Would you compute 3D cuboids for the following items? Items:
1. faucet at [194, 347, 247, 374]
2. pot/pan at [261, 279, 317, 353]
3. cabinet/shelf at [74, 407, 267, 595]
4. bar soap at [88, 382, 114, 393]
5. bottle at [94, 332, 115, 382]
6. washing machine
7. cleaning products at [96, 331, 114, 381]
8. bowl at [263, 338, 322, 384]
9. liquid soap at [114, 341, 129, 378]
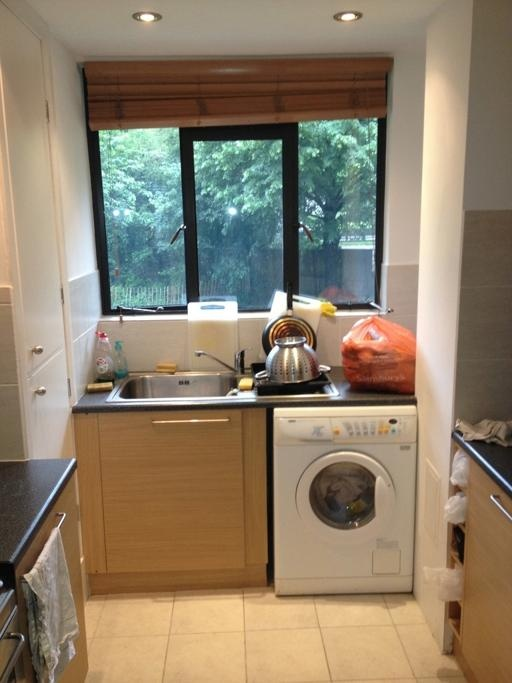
[{"bbox_3d":[-0.181,0.100,2.747,0.257,0.133,0.172,-2,13,-4],"label":"faucet"},{"bbox_3d":[0.167,-0.098,2.728,0.236,0.376,0.061,8,-30,-22],"label":"pot/pan"},{"bbox_3d":[-0.374,0.596,2.605,0.838,0.975,0.623,0,20,-3],"label":"cabinet/shelf"},{"bbox_3d":[-0.709,0.212,2.502,0.117,0.032,0.088,-13,18,-41],"label":"bar soap"},{"bbox_3d":[-0.742,0.074,2.702,0.088,0.292,0.071,-1,28,-11],"label":"bottle"},{"bbox_3d":[0.348,0.701,2.584,0.634,1.084,0.669,0,4,1],"label":"washing machine"},{"bbox_3d":[-0.738,0.071,2.701,0.084,0.278,0.067,-1,28,-10],"label":"cleaning products"},{"bbox_3d":[0.190,0.083,2.453,0.234,0.176,0.249,-4,2,0],"label":"bowl"},{"bbox_3d":[-0.676,0.090,2.731,0.060,0.180,0.094,-4,12,-16],"label":"liquid soap"}]
